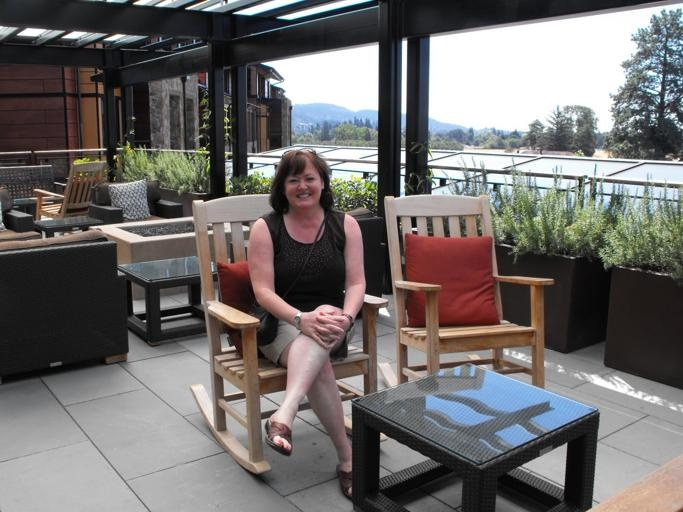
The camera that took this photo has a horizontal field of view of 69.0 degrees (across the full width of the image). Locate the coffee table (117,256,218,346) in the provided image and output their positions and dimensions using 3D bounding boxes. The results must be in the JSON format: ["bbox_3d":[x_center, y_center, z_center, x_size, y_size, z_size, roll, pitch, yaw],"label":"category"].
[{"bbox_3d":[-1.456,0.318,4.184,0.761,0.648,0.753,-8,12,-40],"label":"coffee table"}]

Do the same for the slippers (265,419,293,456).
[{"bbox_3d":[-0.248,0.759,2.051,0.076,0.058,0.193,17,4,-30],"label":"slippers"}]

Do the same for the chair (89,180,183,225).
[{"bbox_3d":[-2.832,-0.599,6.936,0.599,0.858,1.110,12,17,35],"label":"chair"}]

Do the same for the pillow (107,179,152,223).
[{"bbox_3d":[-2.929,-0.737,6.896,0.213,0.557,0.585,-1,14,19],"label":"pillow"}]

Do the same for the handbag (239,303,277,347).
[{"bbox_3d":[-0.419,0.313,2.477,0.152,0.247,0.268,-5,13,-29],"label":"handbag"}]

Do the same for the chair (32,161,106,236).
[{"bbox_3d":[-4.253,-0.861,7.688,0.829,1.142,0.723,10,12,18],"label":"chair"}]

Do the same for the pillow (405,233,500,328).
[{"bbox_3d":[0.657,0.160,2.976,0.538,0.541,0.191,1,-23,-6],"label":"pillow"}]

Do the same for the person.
[{"bbox_3d":[-0.140,0.268,2.335,0.579,1.489,0.768,-2,14,-10],"label":"person"}]

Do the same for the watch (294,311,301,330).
[{"bbox_3d":[-0.197,0.293,2.282,0.041,0.062,0.059,2,-9,5],"label":"watch"}]
